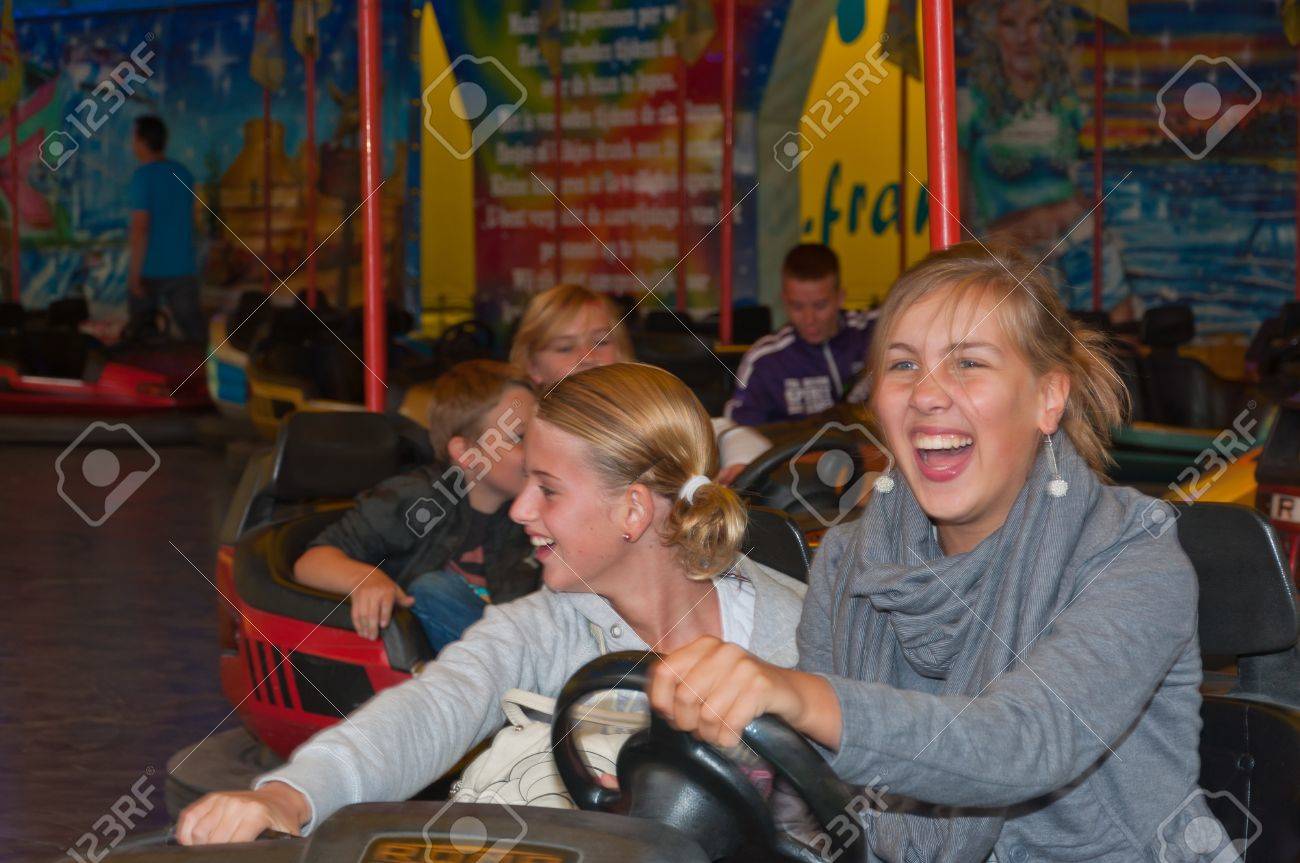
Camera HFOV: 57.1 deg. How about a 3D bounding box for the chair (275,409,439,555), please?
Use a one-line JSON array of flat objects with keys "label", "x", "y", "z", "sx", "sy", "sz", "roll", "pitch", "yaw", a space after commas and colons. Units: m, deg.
[{"label": "chair", "x": -0.524, "y": 0.097, "z": 2.190, "sx": 0.285, "sy": 0.103, "sz": 0.202, "roll": 14, "pitch": -39, "yaw": -23}]
